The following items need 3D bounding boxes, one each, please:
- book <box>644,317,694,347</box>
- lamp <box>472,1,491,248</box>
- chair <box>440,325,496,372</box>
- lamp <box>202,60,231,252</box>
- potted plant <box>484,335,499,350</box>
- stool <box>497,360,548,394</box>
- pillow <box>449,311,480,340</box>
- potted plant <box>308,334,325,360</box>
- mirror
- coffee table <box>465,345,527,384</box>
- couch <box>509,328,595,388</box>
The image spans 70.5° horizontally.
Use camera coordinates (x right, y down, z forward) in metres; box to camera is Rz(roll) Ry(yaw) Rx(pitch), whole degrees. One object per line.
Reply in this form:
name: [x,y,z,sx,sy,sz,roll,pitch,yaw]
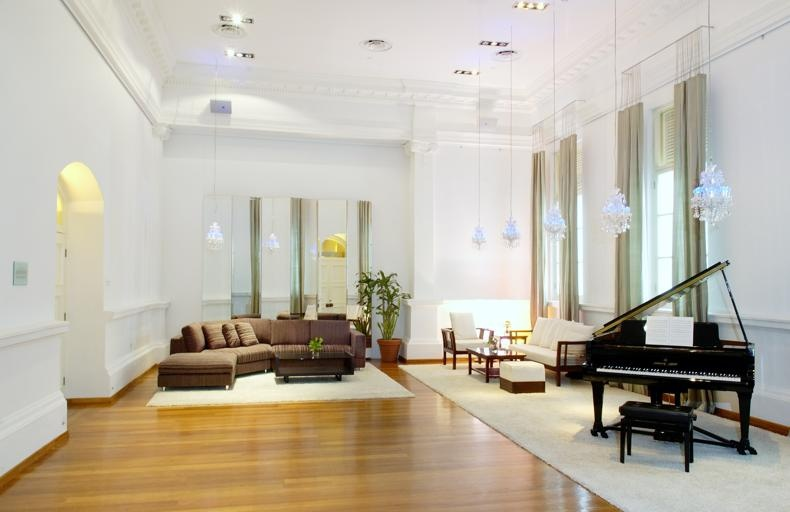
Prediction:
book: [3.928,1.069,7.921,0.527,0.469,0.121,3,-7,15]
lamp: [1.914,-2.375,13.466,0.640,4.329,0.648,1,-3,-9]
chair: [1.608,2.004,12.408,1.025,0.779,0.959,1,-6,-22]
lamp: [-3.927,-2.167,12.411,0.515,4.344,0.498,1,-3,-14]
potted plant: [2.037,1.759,11.354,0.251,0.173,0.338,-1,0,2]
stool: [2.341,2.196,10.305,0.603,0.422,0.601,1,-7,-8]
pillow: [1.580,1.577,12.530,0.580,0.573,0.175,-5,-16,-12]
potted plant: [-1.535,1.869,11.283,0.353,0.374,0.344,13,-19,-27]
mirror: [-2.215,0.401,12.488,3.635,3.726,0.164,0,-1,-5]
coffee table: [2.060,2.177,11.432,0.987,0.687,1.112,2,1,-13]
couch: [3.196,1.882,11.170,1.105,1.078,1.928,3,1,-18]
